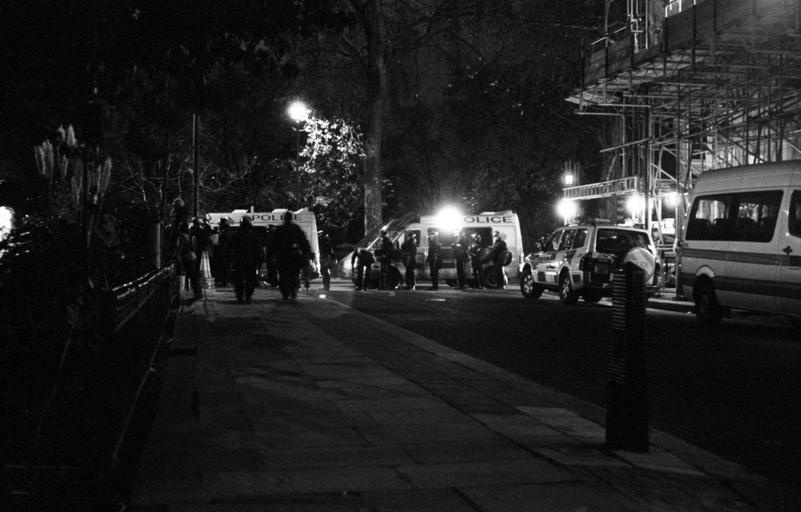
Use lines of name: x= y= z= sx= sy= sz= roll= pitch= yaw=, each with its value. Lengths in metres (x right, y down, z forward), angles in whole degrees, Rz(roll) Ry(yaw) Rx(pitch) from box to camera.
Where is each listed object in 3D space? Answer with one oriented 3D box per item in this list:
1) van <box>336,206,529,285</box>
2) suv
van: x=1.734 y=-0.802 z=28.383 sx=6.205 sy=3.454 sz=3.275 roll=1 pitch=-2 yaw=-4
suv: x=5.562 y=0.164 z=21.569 sx=1.968 sy=1.970 sz=4.004 roll=1 pitch=4 yaw=-14
